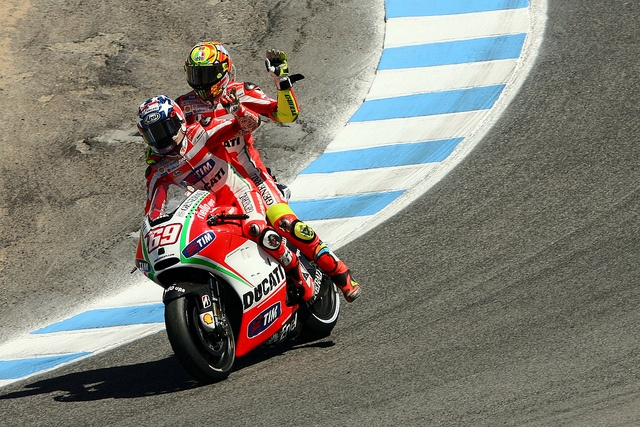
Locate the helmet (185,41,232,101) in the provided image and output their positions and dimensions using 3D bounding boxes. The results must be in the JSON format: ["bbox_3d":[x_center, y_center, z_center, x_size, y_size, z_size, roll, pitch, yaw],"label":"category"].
[{"bbox_3d":[-1.270,-1.585,8.437,0.613,0.481,0.558,3,31,2],"label":"helmet"}]

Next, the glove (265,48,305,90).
[{"bbox_3d":[-0.357,-1.467,7.894,0.294,0.392,0.234,-15,4,2],"label":"glove"}]

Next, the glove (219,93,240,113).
[{"bbox_3d":[-0.863,-1.078,7.593,0.142,0.203,0.242,-16,4,-6],"label":"glove"}]

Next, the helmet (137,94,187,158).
[{"bbox_3d":[-1.514,-0.851,7.453,0.440,0.552,0.258,-15,4,-6],"label":"helmet"}]
